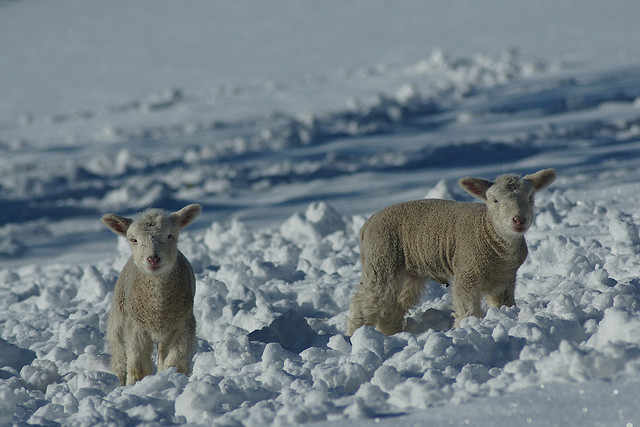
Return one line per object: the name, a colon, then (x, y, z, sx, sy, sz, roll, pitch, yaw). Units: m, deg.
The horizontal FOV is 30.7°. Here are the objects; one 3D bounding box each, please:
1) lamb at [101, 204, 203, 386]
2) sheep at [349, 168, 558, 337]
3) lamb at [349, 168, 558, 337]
lamb: (-2.359, 1.277, 16.211, 1.438, 2.238, 3.193, -2, -12, -15)
sheep: (1.894, 0.669, 16.391, 1.486, 2.215, 3.373, -1, -2, -44)
lamb: (1.929, 0.676, 16.417, 1.551, 2.256, 3.518, -7, 3, -41)
